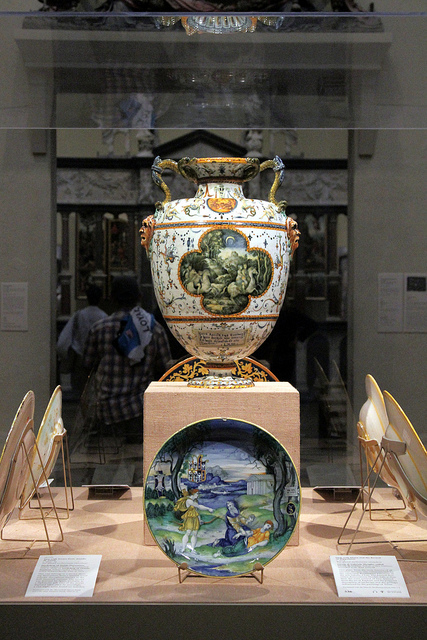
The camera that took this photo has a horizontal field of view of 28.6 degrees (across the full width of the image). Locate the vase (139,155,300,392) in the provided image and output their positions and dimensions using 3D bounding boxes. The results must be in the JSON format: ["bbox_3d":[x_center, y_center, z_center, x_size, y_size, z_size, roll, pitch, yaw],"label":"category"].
[{"bbox_3d":[0.041,-0.183,2.906,0.606,0.743,0.467,-2,4,-9],"label":"vase"}]
